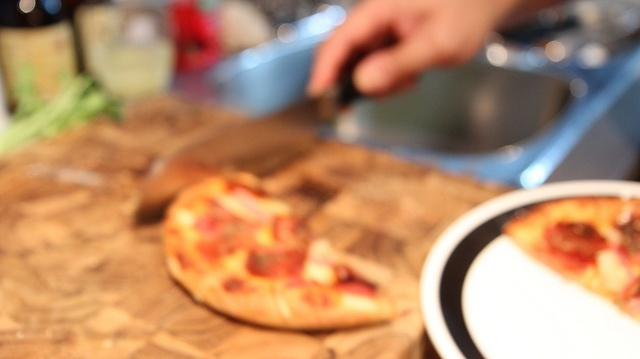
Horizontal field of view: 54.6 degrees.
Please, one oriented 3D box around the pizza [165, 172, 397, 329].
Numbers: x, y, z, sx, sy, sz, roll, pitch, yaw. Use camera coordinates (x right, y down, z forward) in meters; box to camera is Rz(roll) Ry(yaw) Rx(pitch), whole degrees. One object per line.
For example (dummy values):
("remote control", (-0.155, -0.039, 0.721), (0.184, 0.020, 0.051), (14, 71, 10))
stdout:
("pizza", (-0.037, 0.074, 0.524), (0.213, 0.035, 0.097), (18, 51, 11))
